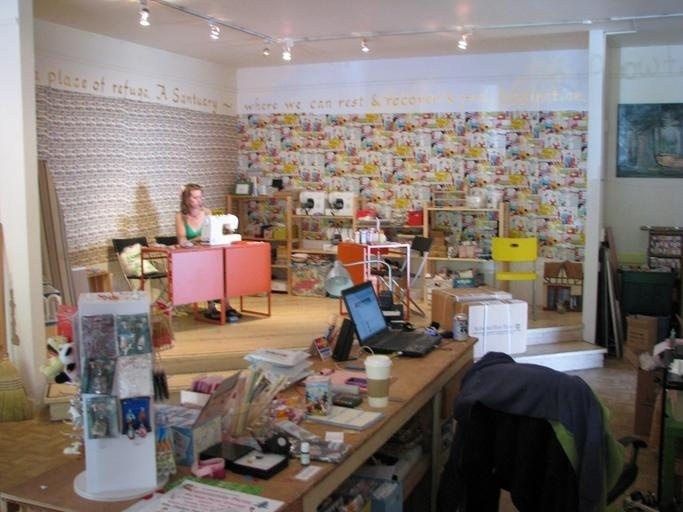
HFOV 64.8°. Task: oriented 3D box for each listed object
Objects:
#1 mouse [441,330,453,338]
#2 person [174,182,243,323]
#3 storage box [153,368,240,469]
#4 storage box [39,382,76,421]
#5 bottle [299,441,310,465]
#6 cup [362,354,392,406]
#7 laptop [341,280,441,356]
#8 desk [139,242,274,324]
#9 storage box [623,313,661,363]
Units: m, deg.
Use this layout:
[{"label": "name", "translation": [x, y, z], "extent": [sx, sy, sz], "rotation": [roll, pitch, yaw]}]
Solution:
[{"label": "mouse", "translation": [0.818, 0.602, 4.182], "extent": [0.064, 0.020, 0.061], "rotation": [-3, 4, -30]}, {"label": "person", "translation": [-1.848, -0.044, 7.313], "extent": [1.043, 1.717, 0.641], "rotation": [17, 16, 18]}, {"label": "storage box", "translation": [-0.706, 0.799, 2.583], "extent": [0.366, 0.302, 0.210], "rotation": [-10, -2, 30]}, {"label": "storage box", "translation": [-2.657, 1.346, 5.141], "extent": [0.308, 0.190, 0.447], "rotation": [-4, 10, -20]}, {"label": "bottle", "translation": [-0.170, 0.898, 2.480], "extent": [0.051, 0.098, 0.079], "rotation": [-5, 3, -4]}, {"label": "cup", "translation": [0.175, 0.709, 3.005], "extent": [0.206, 0.248, 0.181], "rotation": [-11, -28, 23]}, {"label": "laptop", "translation": [0.357, 0.466, 3.843], "extent": [0.595, 0.353, 0.634], "rotation": [0, 3, 20]}, {"label": "desk", "translation": [-1.506, 0.324, 6.578], "extent": [1.398, 0.737, 0.489], "rotation": [-3, -5, 4]}, {"label": "storage box", "translation": [3.776, 1.025, 6.762], "extent": [0.362, 0.452, 0.347], "rotation": [0, 5, 27]}]
